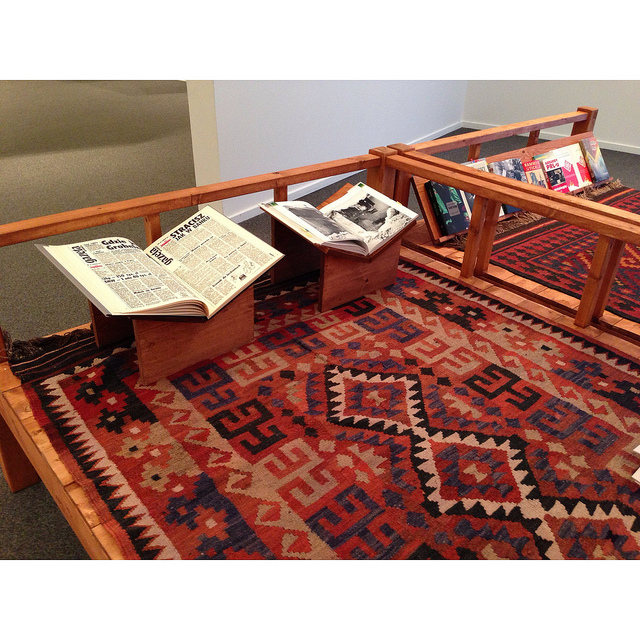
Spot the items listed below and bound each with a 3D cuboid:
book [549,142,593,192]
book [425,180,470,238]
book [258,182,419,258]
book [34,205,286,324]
[{"bbox_3d":[1.702,-1.026,3.497,0.445,0.326,0.098,-12,-2,-40],"label":"book"},{"bbox_3d":[0.634,-0.554,2.539,0.232,0.213,0.326,-1,31,-3],"label":"book"},{"bbox_3d":[0.088,-0.368,1.876,0.436,0.091,0.347,-18,39,-31],"label":"book"},{"bbox_3d":[-0.437,-0.147,1.518,0.411,0.124,0.570,30,32,34],"label":"book"}]
